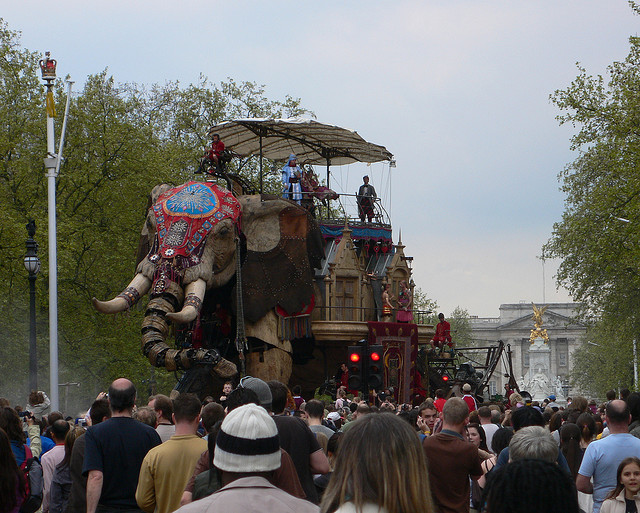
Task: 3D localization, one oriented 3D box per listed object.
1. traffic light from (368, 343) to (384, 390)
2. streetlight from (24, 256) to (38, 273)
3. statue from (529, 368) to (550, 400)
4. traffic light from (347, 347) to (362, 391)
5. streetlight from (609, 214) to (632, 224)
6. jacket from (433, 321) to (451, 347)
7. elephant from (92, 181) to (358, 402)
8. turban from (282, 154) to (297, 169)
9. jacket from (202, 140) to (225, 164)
[{"bbox_3d":[1.029,2.032,24.102,0.261,0.794,0.660,2,-7,2],"label":"traffic light"},{"bbox_3d":[-5.708,0.131,25.317,0.288,0.340,0.280,2,-5,-33],"label":"streetlight"},{"bbox_3d":[12.056,6.820,70.758,1.206,1.578,0.999,0,7,3],"label":"statue"},{"bbox_3d":[0.646,2.039,23.857,0.263,0.781,0.299,2,-7,2],"label":"traffic light"},{"bbox_3d":[9.317,-1.195,39.873,0.690,0.096,0.093,25,36,16],"label":"streetlight"},{"bbox_3d":[3.600,2.217,37.782,0.466,0.758,0.829,1,-7,6],"label":"jacket"},{"bbox_3d":[-1.918,1.266,31.048,4.088,4.824,7.878,1,-11,27],"label":"elephant"},{"bbox_3d":[-0.785,-2.705,35.313,0.354,0.341,0.309,-10,-10,35],"label":"turban"},{"bbox_3d":[-2.621,-2.617,32.176,0.319,0.548,0.198,2,-7,-1],"label":"jacket"}]
